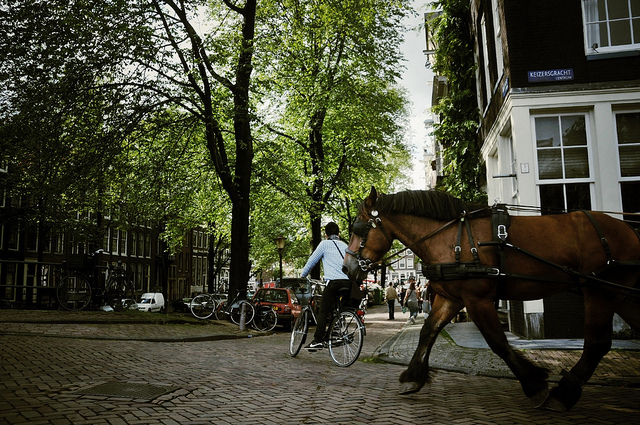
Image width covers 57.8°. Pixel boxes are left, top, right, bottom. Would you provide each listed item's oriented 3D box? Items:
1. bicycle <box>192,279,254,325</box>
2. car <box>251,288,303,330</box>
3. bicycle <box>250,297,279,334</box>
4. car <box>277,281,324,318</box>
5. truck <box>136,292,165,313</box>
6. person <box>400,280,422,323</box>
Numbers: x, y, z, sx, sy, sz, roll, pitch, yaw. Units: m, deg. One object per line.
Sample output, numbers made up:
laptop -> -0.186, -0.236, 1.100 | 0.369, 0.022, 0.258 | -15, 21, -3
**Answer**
bicycle -> -3.694, 3.469, 22.328 | 2.503, 1.510, 1.191 | 14, -11, -18
car -> -1.680, 3.901, 23.692 | 1.596, 1.408, 2.868 | -2, -9, 19
bicycle -> -1.978, 3.632, 20.144 | 0.711, 0.954, 1.365 | 3, -3, -29
car -> -0.674, 3.835, 26.542 | 1.969, 1.930, 3.659 | -1, -4, 12
truck -> -13.272, 7.119, 45.654 | 1.894, 1.355, 4.070 | 2, -3, -15
person -> 4.272, 4.198, 27.537 | 0.910, 1.843, 1.086 | -1, 6, 20
